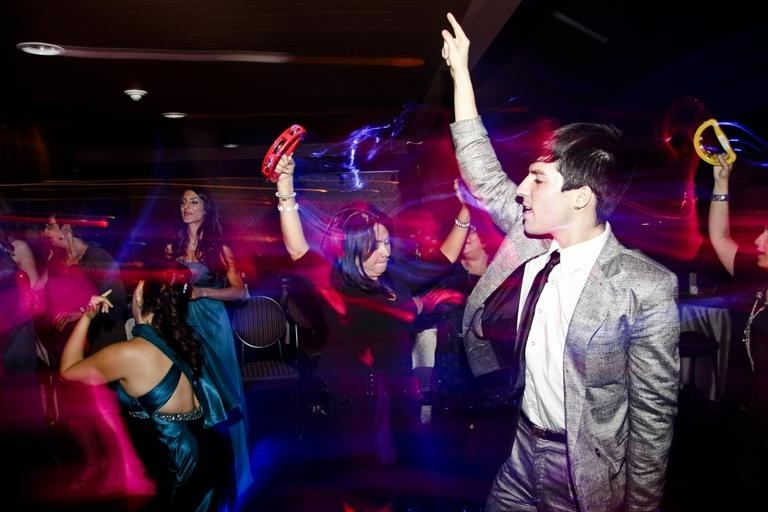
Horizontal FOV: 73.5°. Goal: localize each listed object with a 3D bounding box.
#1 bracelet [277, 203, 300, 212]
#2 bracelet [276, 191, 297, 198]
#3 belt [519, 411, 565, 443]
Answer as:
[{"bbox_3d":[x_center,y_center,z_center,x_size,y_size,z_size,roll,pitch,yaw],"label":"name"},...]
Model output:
[{"bbox_3d":[-0.613,-0.309,3.305,0.126,0.063,0.150,-1,-3,-11],"label":"bracelet"},{"bbox_3d":[-0.619,-0.381,3.259,0.118,0.059,0.093,-1,-3,-15],"label":"bracelet"},{"bbox_3d":[0.890,0.947,2.824,0.146,0.038,0.138,6,5,-32],"label":"belt"}]
